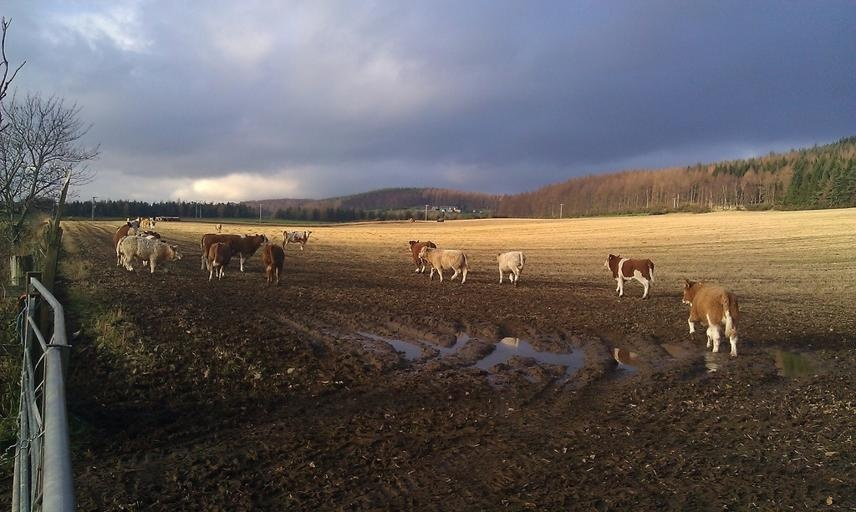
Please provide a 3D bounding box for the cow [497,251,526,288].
[{"bbox_3d":[4.064,0.584,26.926,0.811,1.611,3.030,2,-1,-14],"label":"cow"}]

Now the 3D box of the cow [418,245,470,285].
[{"bbox_3d":[0.744,0.435,26.596,2.959,1.681,0.767,4,8,40],"label":"cow"}]

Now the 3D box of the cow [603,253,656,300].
[{"bbox_3d":[8.611,0.845,23.211,0.808,1.789,2.766,-1,2,-27],"label":"cow"}]

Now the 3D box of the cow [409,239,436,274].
[{"bbox_3d":[-0.056,0.004,28.544,0.715,1.265,2.336,14,-12,-24],"label":"cow"}]
